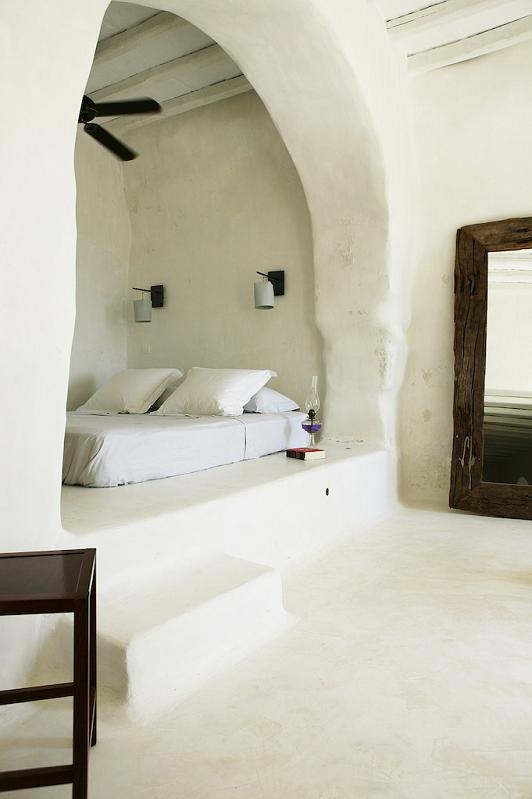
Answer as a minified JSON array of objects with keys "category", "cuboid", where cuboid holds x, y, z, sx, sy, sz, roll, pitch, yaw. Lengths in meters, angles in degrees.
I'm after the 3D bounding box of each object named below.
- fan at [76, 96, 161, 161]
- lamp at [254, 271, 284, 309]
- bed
[{"category":"fan","cuboid":[-0.669,-1.270,3.126,0.352,0.211,0.470,-1,3,-14]},{"category":"lamp","cuboid":[-0.006,-0.755,4.640,0.232,0.271,0.273,1,3,25]},{"category":"bed","cuboid":[-0.329,0.210,3.176,0.259,0.239,1.409,2,4,34]}]
